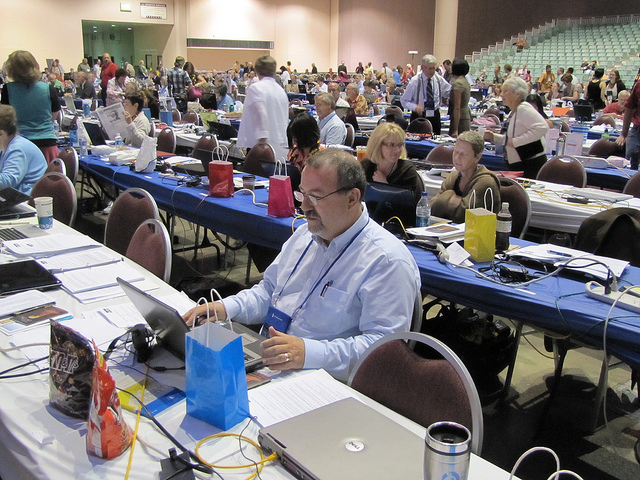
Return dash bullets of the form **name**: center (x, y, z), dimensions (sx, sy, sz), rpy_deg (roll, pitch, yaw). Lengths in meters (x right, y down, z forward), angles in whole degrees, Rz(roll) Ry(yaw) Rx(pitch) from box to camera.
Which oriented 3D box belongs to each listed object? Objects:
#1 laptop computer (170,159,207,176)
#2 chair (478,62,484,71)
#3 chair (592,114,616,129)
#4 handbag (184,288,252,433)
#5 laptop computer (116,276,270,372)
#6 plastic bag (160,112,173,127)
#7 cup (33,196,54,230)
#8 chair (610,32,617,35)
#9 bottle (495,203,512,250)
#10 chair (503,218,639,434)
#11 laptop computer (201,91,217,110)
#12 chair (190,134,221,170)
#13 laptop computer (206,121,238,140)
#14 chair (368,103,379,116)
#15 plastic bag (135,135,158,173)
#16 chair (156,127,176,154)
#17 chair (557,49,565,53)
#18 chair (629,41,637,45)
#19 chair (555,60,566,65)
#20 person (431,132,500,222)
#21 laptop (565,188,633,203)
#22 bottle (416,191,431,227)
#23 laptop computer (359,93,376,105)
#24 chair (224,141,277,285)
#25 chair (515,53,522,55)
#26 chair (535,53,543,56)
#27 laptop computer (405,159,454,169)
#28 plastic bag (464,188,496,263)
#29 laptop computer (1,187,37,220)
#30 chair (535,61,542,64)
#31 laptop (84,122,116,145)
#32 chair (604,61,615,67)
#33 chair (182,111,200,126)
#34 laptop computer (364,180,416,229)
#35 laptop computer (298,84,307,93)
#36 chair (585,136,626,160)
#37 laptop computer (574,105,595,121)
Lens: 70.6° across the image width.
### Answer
- **laptop computer**: center (-1.334, -0.715, 4.501), dimensions (0.305, 0.089, 0.691), rpy_deg (-7, 19, -19)
- **chair**: center (8.735, -9.346, 24.457), dimensions (0.289, 0.425, 1.038), rpy_deg (5, 19, 16)
- **chair**: center (4.996, -2.069, 7.923), dimensions (0.326, 0.184, 0.667), rpy_deg (8, 20, 25)
- **handbag**: center (-0.319, 0.379, 1.406), dimensions (0.231, 0.532, 0.142), rpy_deg (13, 25, 38)
- **laptop computer**: center (-0.420, 0.270, 1.586), dimensions (0.361, 0.257, 0.384), rpy_deg (-13, 21, -43)
- **plastic bag**: center (-2.464, -1.897, 7.178), dimensions (0.192, 0.221, 0.234), rpy_deg (-3, 18, -9)
- **cup**: center (-1.704, -0.164, 2.781), dimensions (0.123, 0.187, 0.127), rpy_deg (3, 9, 0)
- **chair**: center (14.557, -10.158, 22.366), dimensions (0.298, 0.112, 0.125), rpy_deg (11, 21, 32)
- **bottle**: center (1.079, -0.084, 2.645), dimensions (0.084, 0.283, 0.209), rpy_deg (7, 19, 23)
- **chair**: center (1.543, 0.446, 2.628), dimensions (0.648, 1.034, 1.096), rpy_deg (16, 24, 43)
- **laptop computer**: center (-2.356, -2.940, 9.623), dimensions (0.303, 0.341, 0.594), rpy_deg (-4, 18, -12)
- **chair**: center (-1.411, -1.006, 5.492), dimensions (0.348, 0.581, 0.387), rpy_deg (3, 5, -16)
- **laptop computer**: center (-1.359, -1.548, 6.440), dimensions (0.645, 0.240, 0.209), rpy_deg (14, 22, 37)
- **chair**: center (1.305, -3.013, 10.574), dimensions (0.234, 0.356, 0.330), rpy_deg (1, 9, 25)
- **plastic bag**: center (-1.718, -0.828, 4.430), dimensions (0.213, 0.328, 0.254), rpy_deg (-8, 19, -23)
- **chair**: center (-2.117, -1.353, 6.198), dimensions (0.222, 0.303, 0.457), rpy_deg (-8, 19, -22)
- **chair**: center (12.410, -9.637, 23.198), dimensions (0.308, 0.160, 0.189), rpy_deg (11, 21, 33)
- **chair**: center (14.744, -9.222, 21.270), dimensions (0.198, 0.176, 0.439), rpy_deg (-2, 18, -4)
- **chair**: center (12.100, -8.861, 22.675), dimensions (0.403, 0.220, 0.234), rpy_deg (14, 23, 39)
- **person**: center (1.070, -0.400, 3.388), dimensions (0.523, 0.758, 0.488), rpy_deg (5, 14, 6)
- **laptop**: center (2.322, -0.381, 3.801), dimensions (0.513, 0.059, 0.256), rpy_deg (16, 24, 41)
- **bottle**: center (0.685, -0.200, 2.981), dimensions (0.086, 0.212, 0.247), rpy_deg (4, 18, 15)
- **laptop computer**: center (1.277, -3.637, 11.642), dimensions (0.311, 0.229, 0.683), rpy_deg (2, 18, 8)
- **chair**: center (-0.603, -0.578, 4.500), dimensions (0.391, 0.448, 1.335), rpy_deg (5, 59, -6)
- **chair**: center (10.527, -9.774, 23.958), dimensions (0.171, 0.121, 0.173), rpy_deg (-2, 0, -4)
- **chair**: center (11.470, -9.630, 23.602), dimensions (0.325, 0.145, 0.281), rpy_deg (7, 19, 23)
- **laptop computer**: center (1.210, -0.812, 4.872), dimensions (0.414, 0.045, 0.688), rpy_deg (5, 19, 15)
- **plastic bag**: center (0.901, -0.026, 2.532), dimensions (0.173, 0.287, 0.180), rpy_deg (6, 18, 20)
- **laptop computer**: center (-2.014, -0.239, 2.989), dimensions (0.190, 0.160, 0.276), rpy_deg (-13, 21, -34)
- **chair**: center (11.233, -9.045, 23.180), dimensions (0.322, 0.137, 0.214), rpy_deg (6, 19, 21)
- **laptop**: center (-2.716, -1.255, 5.559), dimensions (0.263, 0.229, 0.331), rpy_deg (2, 14, 6)
- **chair**: center (13.328, -7.994, 20.638), dimensions (0.342, 0.258, 0.350), rpy_deg (-3, 31, 29)
- **chair**: center (-2.351, -2.253, 8.377), dimensions (0.262, 0.365, 0.287), rpy_deg (2, 21, 0)
- **laptop computer**: center (0.491, -0.281, 3.029), dimensions (0.338, 0.369, 0.292), rpy_deg (8, 20, 29)
- **laptop computer**: center (-0.564, -4.830, 14.516), dimensions (0.333, 0.271, 0.260), rpy_deg (2, 13, 11)
- **chair**: center (3.736, -1.181, 5.901), dimensions (0.708, 0.231, 0.394), rpy_deg (-18, 24, -42)
- **laptop computer**: center (4.516, -2.156, 7.760), dimensions (0.242, 0.278, 0.880), rpy_deg (9, 20, 29)
